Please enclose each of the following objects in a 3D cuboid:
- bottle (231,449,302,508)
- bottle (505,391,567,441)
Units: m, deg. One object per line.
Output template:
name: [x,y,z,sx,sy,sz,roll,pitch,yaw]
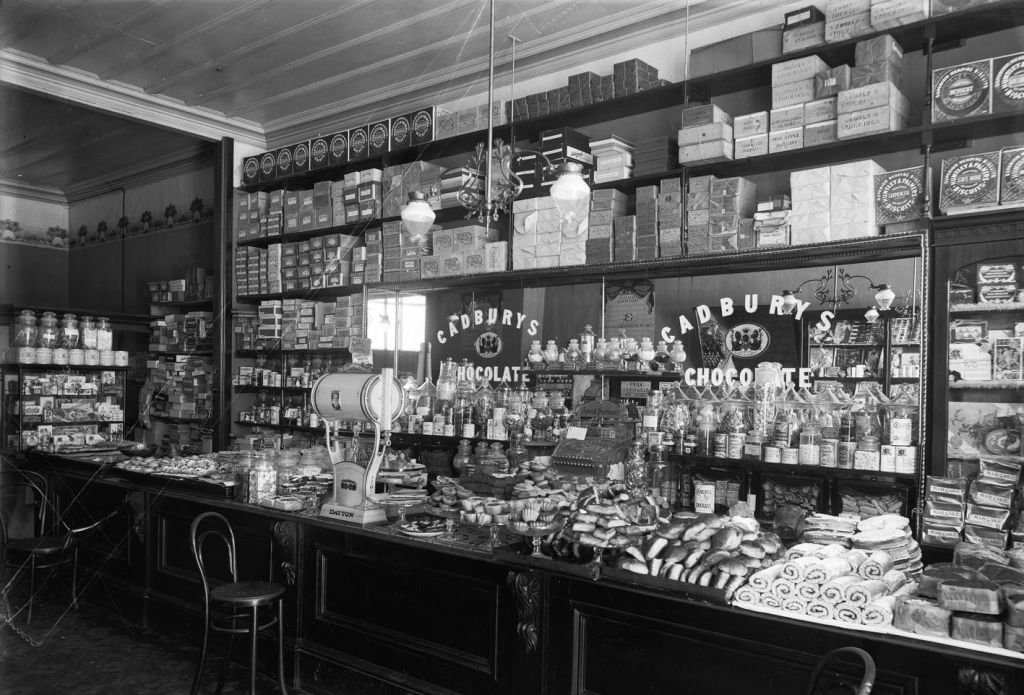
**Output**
bottle: [-1.723,0.907,6.690,0.425,0.350,0.667,0,-1,-18]
bottle: [0.182,0.500,7.172,0.326,0.310,0.426,1,0,-9]
